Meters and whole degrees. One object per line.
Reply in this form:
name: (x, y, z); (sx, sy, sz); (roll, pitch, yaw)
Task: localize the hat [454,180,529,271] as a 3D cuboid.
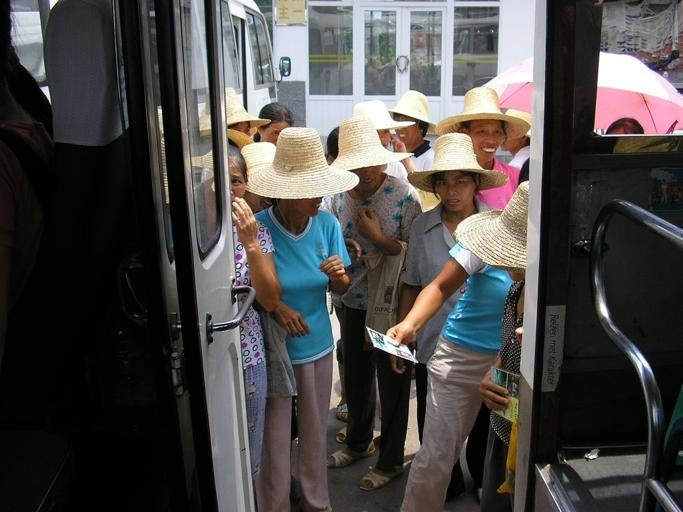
hat: (0.711, -0.095, 2.481); (0.366, 0.201, 0.375); (29, 35, 18)

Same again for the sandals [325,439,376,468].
sandals: (0.049, 1.352, 3.831); (0.337, 0.103, 0.127); (-2, 2, -34)

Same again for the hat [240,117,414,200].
hat: (-0.099, -0.509, 3.197); (0.541, 0.214, 0.734); (1, 17, 30)

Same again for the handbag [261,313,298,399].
handbag: (-0.336, 0.504, 2.848); (0.143, 0.438, 0.157); (-8, 15, -26)

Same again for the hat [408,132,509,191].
hat: (0.730, -0.551, 3.327); (0.422, 0.231, 0.426); (8, -11, -39)

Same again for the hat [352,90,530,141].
hat: (0.881, -1.176, 4.421); (0.946, 0.265, 0.937); (0, 4, -41)
